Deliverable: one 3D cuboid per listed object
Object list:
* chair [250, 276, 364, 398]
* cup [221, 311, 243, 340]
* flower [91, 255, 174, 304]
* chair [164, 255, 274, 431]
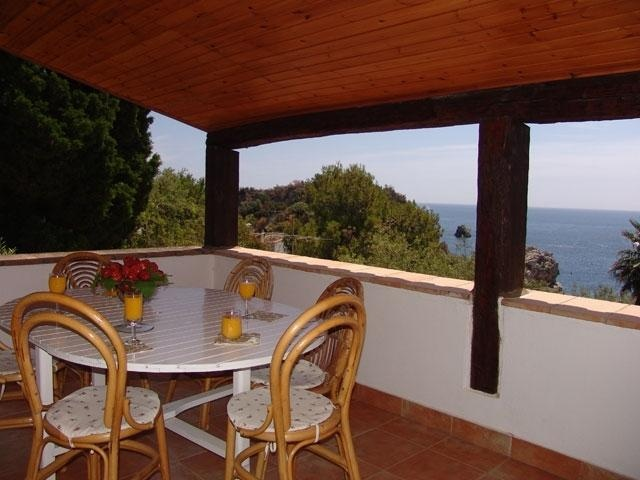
[{"bbox_3d":[-0.112,0.549,2.832,0.653,0.959,0.569,10,-7,-37],"label":"chair"},{"bbox_3d":[-0.420,0.417,2.214,0.118,0.131,0.119,0,7,0],"label":"cup"},{"bbox_3d":[-1.014,0.185,2.428,0.367,0.243,0.365,1,3,-35],"label":"flower"},{"bbox_3d":[-0.683,0.772,3.250,0.654,1.240,0.779,14,24,38],"label":"chair"}]
